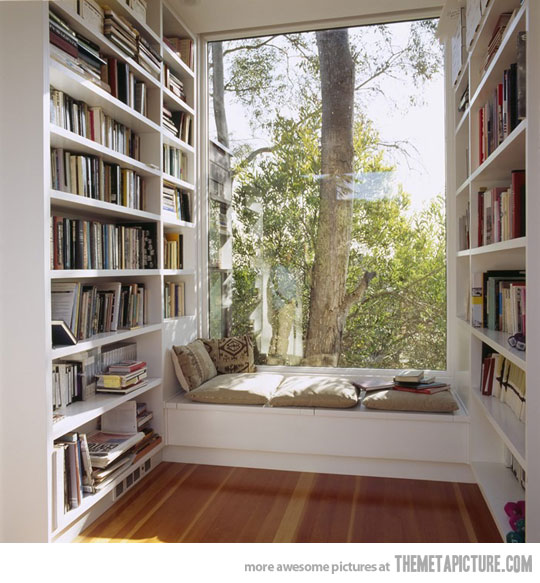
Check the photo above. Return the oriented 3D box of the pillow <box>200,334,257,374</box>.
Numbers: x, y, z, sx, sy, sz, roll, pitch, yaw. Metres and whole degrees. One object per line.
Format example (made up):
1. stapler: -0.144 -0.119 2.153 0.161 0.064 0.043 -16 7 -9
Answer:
1. pillow: -0.283 0.486 3.625 0.279 0.309 0.090 -5 -10 -4

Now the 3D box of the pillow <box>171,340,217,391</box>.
1. pillow: -0.541 0.527 3.323 0.113 0.227 0.321 -9 2 15
